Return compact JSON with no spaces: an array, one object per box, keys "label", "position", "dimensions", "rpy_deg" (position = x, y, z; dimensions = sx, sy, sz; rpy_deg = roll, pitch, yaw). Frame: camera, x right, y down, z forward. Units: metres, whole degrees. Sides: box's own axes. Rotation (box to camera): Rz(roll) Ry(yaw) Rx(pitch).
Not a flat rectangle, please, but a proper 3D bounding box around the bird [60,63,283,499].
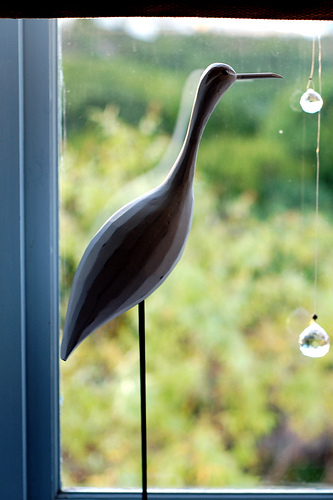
[{"label":"bird","position":[0.004,-0.054,0.779],"dimensions":[0.295,0.359,0.079],"rpy_deg":[-8,-19,17]}]
